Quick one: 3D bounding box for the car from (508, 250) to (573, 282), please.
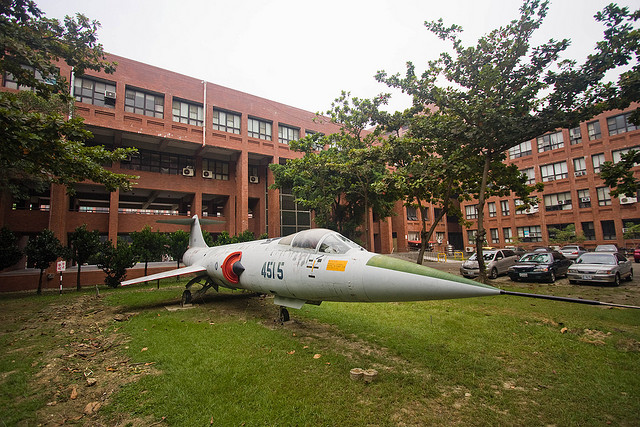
[{"bbox_3d":[13.384,3.254,21.829,3.572,1.829,1.781,5,-10,-33],"label":"car"}]

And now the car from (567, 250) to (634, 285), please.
[{"bbox_3d":[15.712,3.056,20.012,3.665,1.830,1.776,4,-9,-29],"label":"car"}]

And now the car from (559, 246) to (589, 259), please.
[{"bbox_3d":[20.229,3.113,28.558,2.566,0.755,1.152,-3,2,-39],"label":"car"}]

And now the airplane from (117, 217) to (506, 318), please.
[{"bbox_3d":[-1.361,2.564,14.695,13.767,3.540,1.898,-7,-10,37],"label":"airplane"}]

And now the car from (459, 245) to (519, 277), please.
[{"bbox_3d":[10.990,3.305,23.455,3.854,1.480,2.165,3,-8,-44],"label":"car"}]
